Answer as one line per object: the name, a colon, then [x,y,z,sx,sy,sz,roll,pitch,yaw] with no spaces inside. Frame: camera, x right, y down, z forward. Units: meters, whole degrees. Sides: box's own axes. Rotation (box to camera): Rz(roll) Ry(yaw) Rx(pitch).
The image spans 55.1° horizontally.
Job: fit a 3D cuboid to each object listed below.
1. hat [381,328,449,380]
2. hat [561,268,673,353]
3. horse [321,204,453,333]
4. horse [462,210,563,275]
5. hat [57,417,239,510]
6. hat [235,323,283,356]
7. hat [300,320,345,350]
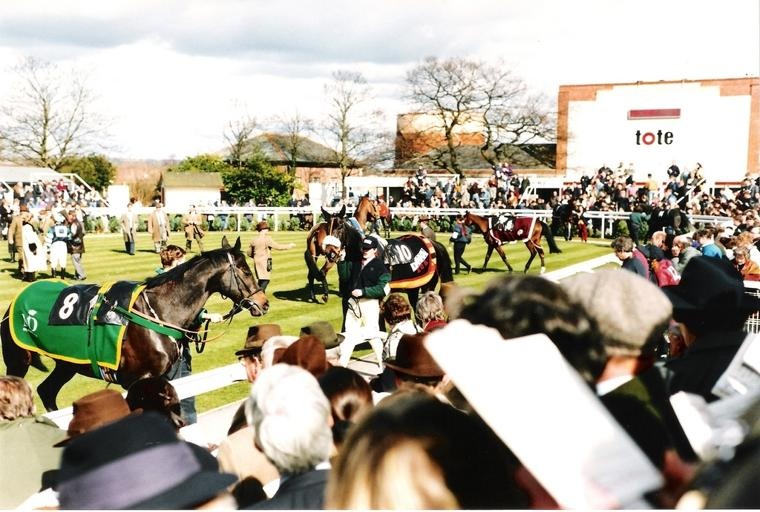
hat: [0.189,0.559,4.167,0.242,0.260,0.399,-4,10,-12]
hat: [0.896,0.187,2.841,0.388,0.172,0.283,19,44,20]
horse: [0.124,0.274,9.314,0.613,1.599,2.154,3,5,43]
horse: [2.731,-0.267,15.072,1.833,1.197,1.468,0,10,12]
hat: [-0.921,0.800,2.734,0.421,0.136,0.435,3,4,18]
hat: [-0.815,0.559,5.026,0.239,0.114,0.277,1,-14,-36]
hat: [-0.478,0.622,5.825,0.278,0.105,0.260,-1,8,26]
